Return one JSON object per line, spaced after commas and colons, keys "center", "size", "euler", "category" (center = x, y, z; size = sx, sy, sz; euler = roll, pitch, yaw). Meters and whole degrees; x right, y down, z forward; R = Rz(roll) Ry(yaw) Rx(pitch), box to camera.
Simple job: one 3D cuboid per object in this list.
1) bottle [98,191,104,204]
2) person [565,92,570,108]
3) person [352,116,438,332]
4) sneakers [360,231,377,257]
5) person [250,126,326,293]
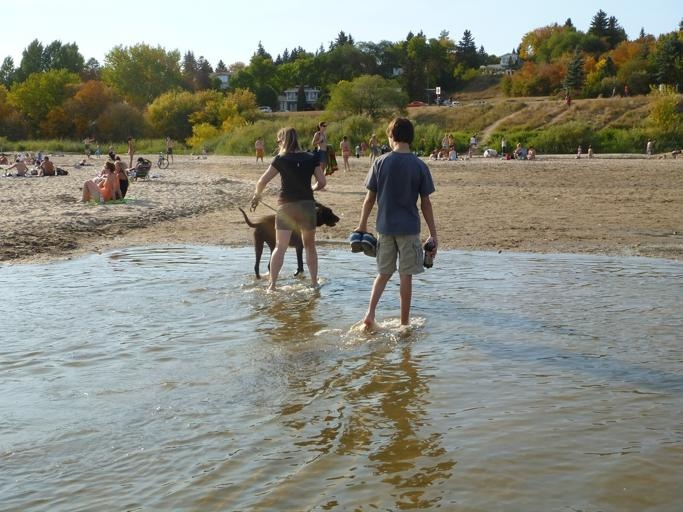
{"center": [-6.346, -1.549, 19.476], "size": [0.123, 0.094, 0.373], "euler": [-11, 39, -17], "category": "bottle"}
{"center": [23.275, -16.079, 75.744], "size": [0.534, 1.419, 2.558], "euler": [3, 9, 16], "category": "person"}
{"center": [0.635, -0.342, 8.273], "size": [0.860, 2.398, 0.393], "euler": [1, 9, 1], "category": "person"}
{"center": [0.320, -0.138, 8.351], "size": [0.107, 0.132, 0.315], "euler": [5, -21, 19], "category": "sneakers"}
{"center": [-0.687, -0.625, 9.976], "size": [0.891, 2.193, 0.903], "euler": [0, 9, -3], "category": "person"}
